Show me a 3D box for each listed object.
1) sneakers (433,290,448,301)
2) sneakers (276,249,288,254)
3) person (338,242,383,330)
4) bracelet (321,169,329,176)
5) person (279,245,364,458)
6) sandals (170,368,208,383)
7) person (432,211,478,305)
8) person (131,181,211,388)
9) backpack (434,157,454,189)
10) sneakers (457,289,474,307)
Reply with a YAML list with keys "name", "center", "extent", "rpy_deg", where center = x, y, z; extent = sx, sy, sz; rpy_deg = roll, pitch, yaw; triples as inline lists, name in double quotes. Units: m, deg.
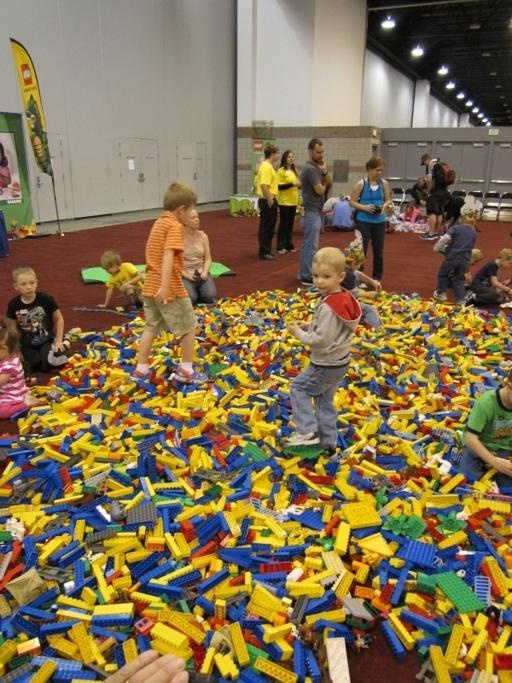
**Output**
- name: "sneakers"
  center: [2.085, -0.529, 5.551]
  extent: [0.081, 0.076, 0.182]
  rpy_deg: [0, 26, 1]
- name: "sneakers"
  center: [0.449, -1.559, 8.419]
  extent: [0.126, 0.046, 0.078]
  rpy_deg: [4, 25, 13]
- name: "person"
  center: [0.848, -0.457, 3.991]
  extent: [0.421, 0.699, 0.375]
  rpy_deg: [2, 20, -9]
- name: "bracelet"
  center: [0.874, -2.164, 6.213]
  extent: [0.076, 0.023, 0.100]
  rpy_deg: [0, -2, 6]
- name: "person"
  center: [0.311, 0.049, 2.343]
  extent: [0.321, 0.997, 0.348]
  rpy_deg: [7, 20, 18]
- name: "sandals"
  center: [-0.431, 0.233, 3.225]
  extent: [0.249, 0.098, 0.094]
  rpy_deg: [-1, 13, -7]
- name: "person"
  center: [2.192, -0.936, 5.445]
  extent: [0.389, 1.006, 0.347]
  rpy_deg: [15, 2, -3]
- name: "person"
  center: [-0.590, -0.376, 3.157]
  extent: [0.458, 1.241, 0.533]
  rpy_deg: [-3, 19, -10]
- name: "backpack"
  center: [3.948, -3.515, 10.302]
  extent: [0.639, 0.576, 0.457]
  rpy_deg: [8, 25, 17]
- name: "sneakers"
  center: [2.347, -0.471, 5.442]
  extent: [0.143, 0.171, 0.414]
  rpy_deg: [11, 32, 19]
